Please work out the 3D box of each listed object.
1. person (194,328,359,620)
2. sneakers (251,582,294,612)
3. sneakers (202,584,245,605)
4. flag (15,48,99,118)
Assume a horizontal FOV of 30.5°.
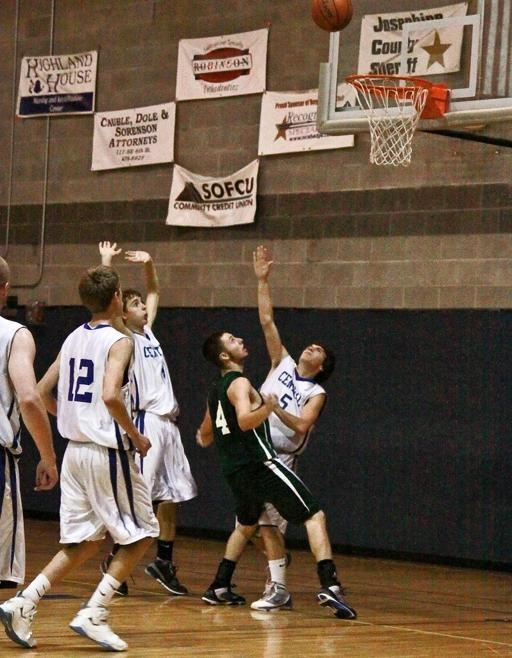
[{"bbox_3d":[0.067,0.748,4.856,0.584,1.452,0.990,1,-1,-25],"label":"person"},{"bbox_3d":[0.092,1.393,4.904,0.289,0.164,0.091,0,-2,-6],"label":"sneakers"},{"bbox_3d":[-0.178,1.425,5.052,0.236,0.107,0.094,4,-2,-18],"label":"sneakers"},{"bbox_3d":[-1.939,-2.408,9.245,0.872,0.570,0.043,-1,-12,27],"label":"flag"}]
